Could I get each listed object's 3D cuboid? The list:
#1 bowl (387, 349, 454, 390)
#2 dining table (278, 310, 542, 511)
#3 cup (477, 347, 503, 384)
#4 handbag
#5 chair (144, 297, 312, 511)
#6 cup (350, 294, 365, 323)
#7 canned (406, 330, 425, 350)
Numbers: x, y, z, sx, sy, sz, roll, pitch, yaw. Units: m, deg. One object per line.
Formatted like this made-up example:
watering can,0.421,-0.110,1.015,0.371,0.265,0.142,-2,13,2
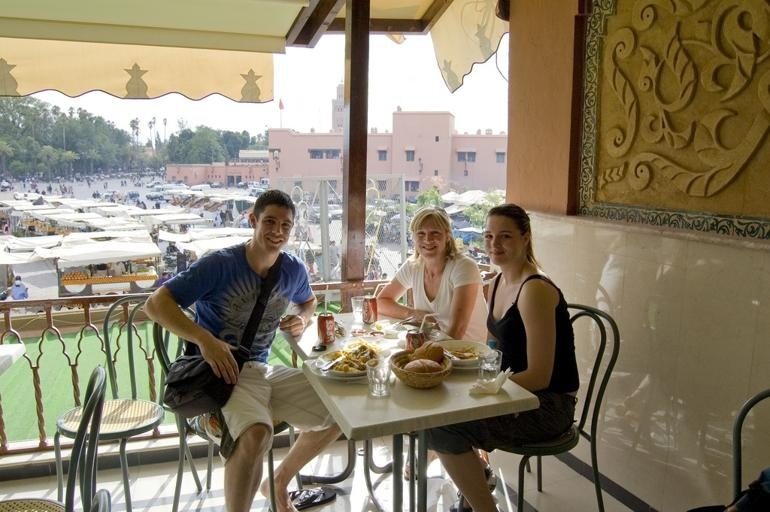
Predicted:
bowl,0.165,0.572,2.741,0.277,0.100,0.278,5,11,-1
dining table,0.098,0.538,2.641,0.681,0.618,1.223,-5,16,-22
cup,0.507,0.544,2.755,0.136,0.202,0.132,-1,7,0
handbag,-0.953,0.700,2.981,0.397,0.285,0.168,-2,-10,-18
chair,-0.914,0.879,3.232,0.696,1.287,0.776,-31,-38,32
cup,-0.159,0.356,3.632,0.135,0.145,0.132,-1,-1,0
canned,0.159,0.445,2.932,0.089,0.088,0.088,0,6,-17
